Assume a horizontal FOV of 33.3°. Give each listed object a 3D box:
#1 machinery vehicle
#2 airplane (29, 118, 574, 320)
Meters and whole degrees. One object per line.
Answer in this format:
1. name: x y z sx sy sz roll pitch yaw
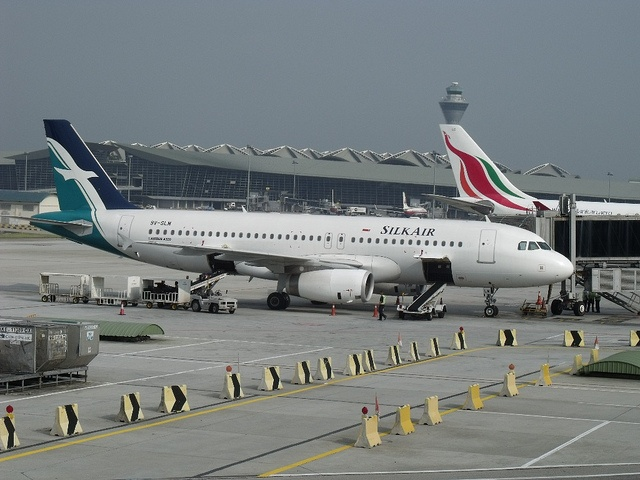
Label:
1. machinery vehicle: -10.325 3.001 60.141 16.641 2.439 2.431 0 3 13
2. airplane: -0.336 0.185 59.469 22.962 5.468 14.942 1 6 16
